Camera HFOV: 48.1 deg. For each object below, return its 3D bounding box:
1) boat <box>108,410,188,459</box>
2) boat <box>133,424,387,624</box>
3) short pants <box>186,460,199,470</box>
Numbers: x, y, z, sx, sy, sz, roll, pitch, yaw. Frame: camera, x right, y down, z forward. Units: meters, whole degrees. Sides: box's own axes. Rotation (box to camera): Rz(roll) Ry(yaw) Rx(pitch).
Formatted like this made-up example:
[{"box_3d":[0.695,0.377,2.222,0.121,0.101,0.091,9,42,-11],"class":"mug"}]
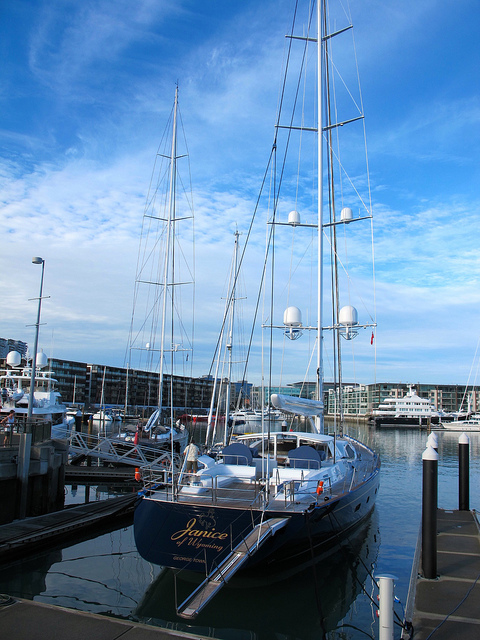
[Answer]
[{"box_3d":[-4.100,6.999,31.268,2.453,2.276,6.686,5,-11,18],"class":"boat"},{"box_3d":[0.593,3.904,11.484,3.061,3.338,8.587,-1,-8,26],"class":"boat"},{"box_3d":[-1.085,3.300,12.232,0.278,0.367,0.132,-1,-21,4],"class":"short pants"}]
